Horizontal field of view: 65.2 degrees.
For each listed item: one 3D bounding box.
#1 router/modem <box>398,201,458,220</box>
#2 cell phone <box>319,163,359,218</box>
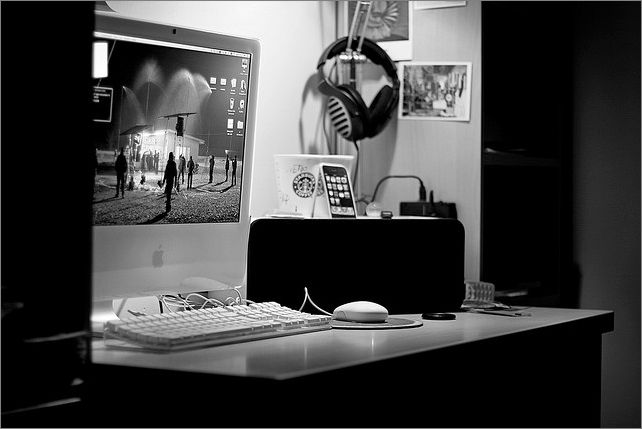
[{"bbox_3d":[0.365,-0.022,1.703,0.199,0.054,0.095,2,3,9],"label":"router/modem"},{"bbox_3d":[0.052,-0.070,1.408,0.109,0.150,0.062,0,2,-38],"label":"cell phone"}]
